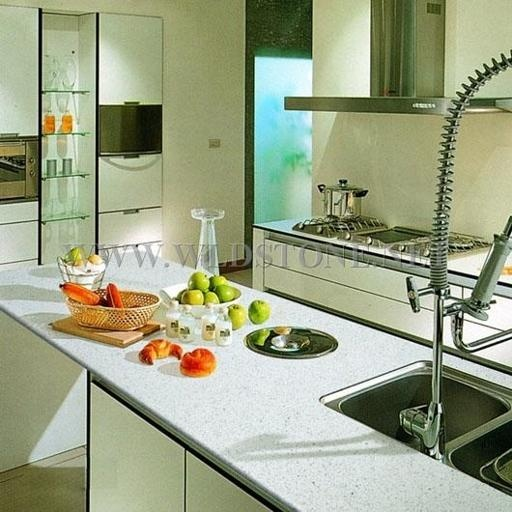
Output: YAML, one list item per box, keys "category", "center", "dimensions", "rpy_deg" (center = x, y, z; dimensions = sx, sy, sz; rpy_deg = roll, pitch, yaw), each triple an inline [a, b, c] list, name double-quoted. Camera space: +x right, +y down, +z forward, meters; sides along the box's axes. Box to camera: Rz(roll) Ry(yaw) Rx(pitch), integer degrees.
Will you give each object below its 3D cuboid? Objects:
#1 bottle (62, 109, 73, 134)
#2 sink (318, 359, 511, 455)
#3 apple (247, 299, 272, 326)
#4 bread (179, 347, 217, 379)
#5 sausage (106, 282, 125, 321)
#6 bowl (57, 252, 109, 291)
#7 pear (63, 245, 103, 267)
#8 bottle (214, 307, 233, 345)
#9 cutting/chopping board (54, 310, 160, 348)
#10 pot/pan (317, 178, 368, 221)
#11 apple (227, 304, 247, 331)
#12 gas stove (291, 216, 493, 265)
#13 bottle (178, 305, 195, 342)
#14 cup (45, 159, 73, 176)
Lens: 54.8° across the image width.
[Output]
- category: "bottle"
  center: [-1.766, -1.248, 4.607]
  dimensions: [0.121, 0.204, 0.054]
  rpy_deg: [-16, 21, -42]
- category: "sink"
  center: [0.444, 0.419, 1.318]
  dimensions: [0.335, 0.199, 0.332]
  rpy_deg: [-13, 17, -36]
- category: "apple"
  center: [0.007, 0.210, 1.838]
  dimensions: [0.090, 0.099, 0.086]
  rpy_deg: [-1, 2, -2]
- category: "bread"
  center: [-0.173, 0.304, 1.437]
  dimensions: [0.085, 0.048, 0.082]
  rpy_deg: [-2, 6, 6]
- category: "sausage"
  center: [-0.519, 0.171, 1.811]
  dimensions: [0.048, 0.173, 0.046]
  rpy_deg: [-13, -26, -9]
- category: "bowl"
  center: [-0.769, 0.067, 2.187]
  dimensions: [0.182, 0.126, 0.183]
  rpy_deg: [0, 3, 0]
- category: "pear"
  center: [-0.985, -0.003, 2.814]
  dimensions: [0.155, 0.065, 0.115]
  rpy_deg: [2, 3, 11]
- category: "bottle"
  center: [-0.115, 0.248, 1.670]
  dimensions: [0.054, 0.097, 0.064]
  rpy_deg: [-7, 16, -19]
- category: "cutting/chopping board"
  center: [-0.572, 0.256, 1.829]
  dimensions: [0.409, 0.033, 0.229]
  rpy_deg: [7, 17, 26]
- category: "pot/pan"
  center: [0.666, -0.446, 4.001]
  dimensions: [0.336, 0.314, 0.474]
  rpy_deg: [-4, 7, -37]
- category: "apple"
  center: [-0.067, 0.226, 1.824]
  dimensions: [0.083, 0.092, 0.082]
  rpy_deg: [-2, 7, -2]
- category: "gas stove"
  center: [0.950, -0.166, 3.642]
  dimensions: [0.637, 0.121, 1.438]
  rpy_deg: [-14, 20, -40]
- category: "bottle"
  center: [-0.241, 0.232, 1.688]
  dimensions: [0.054, 0.118, 0.052]
  rpy_deg: [-1, 16, 0]
- category: "cup"
  center: [-1.862, -0.826, 4.607]
  dimensions: [0.188, 0.111, 0.066]
  rpy_deg: [-4, 5, -43]
